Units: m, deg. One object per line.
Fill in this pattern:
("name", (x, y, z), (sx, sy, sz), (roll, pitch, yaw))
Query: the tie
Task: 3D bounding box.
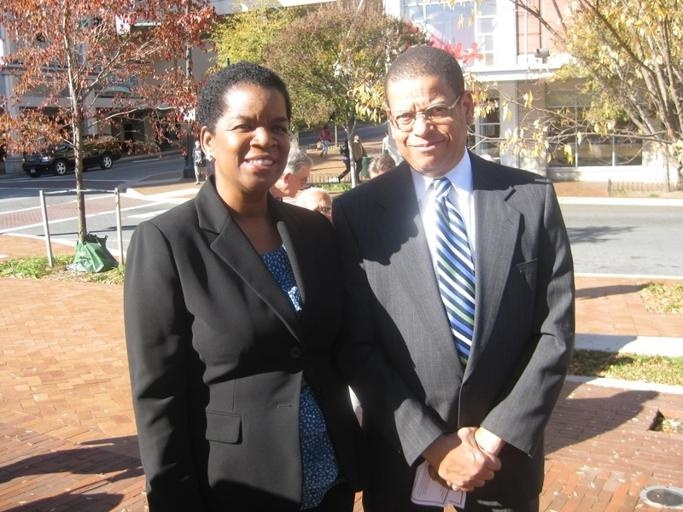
("tie", (0.523, 0.058, 2.508), (0.136, 0.878, 0.044), (-8, -19, 4))
